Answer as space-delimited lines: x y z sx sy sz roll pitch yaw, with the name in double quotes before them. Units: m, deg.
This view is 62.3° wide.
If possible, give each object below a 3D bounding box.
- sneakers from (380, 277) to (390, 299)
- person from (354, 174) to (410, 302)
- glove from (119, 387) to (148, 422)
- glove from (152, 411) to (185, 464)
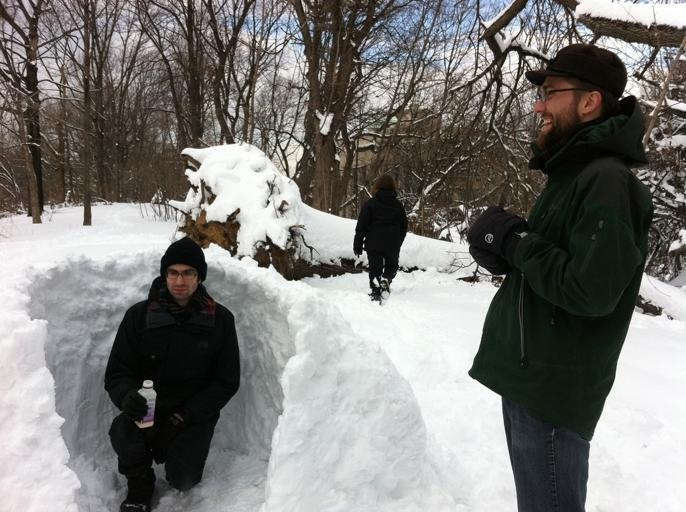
"sneakers" 0.622 0.491 8.484 0.109 0.351 0.135 -1 -4 -1
"person" 0.544 -0.257 8.357 0.754 1.821 0.377 3 10 1
"glove" -1.786 1.270 4.826 0.168 0.256 0.278 -8 15 -43
"glove" -1.581 1.618 5.152 0.160 0.456 0.332 18 2 -5
